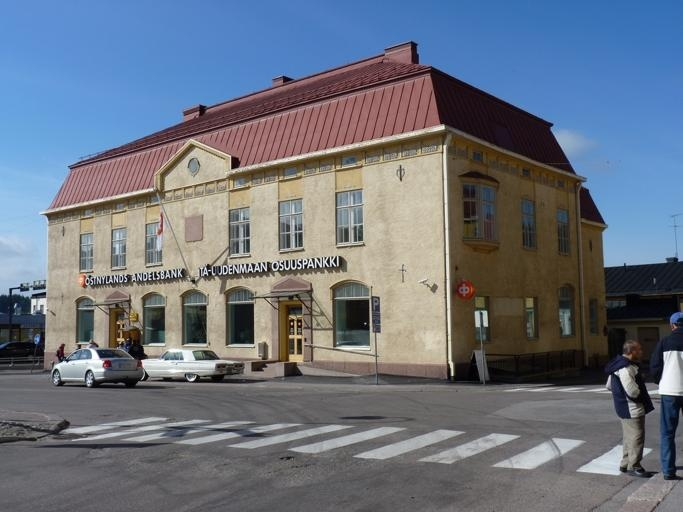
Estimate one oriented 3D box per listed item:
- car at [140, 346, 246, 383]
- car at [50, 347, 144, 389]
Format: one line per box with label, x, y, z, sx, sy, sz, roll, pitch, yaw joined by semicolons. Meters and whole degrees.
car;-6.747;4.869;31.025;4.325;1.425;0.975;-4;-8;22
car;-10.221;4.552;28.532;3.594;1.233;1.658;-4;-8;40
